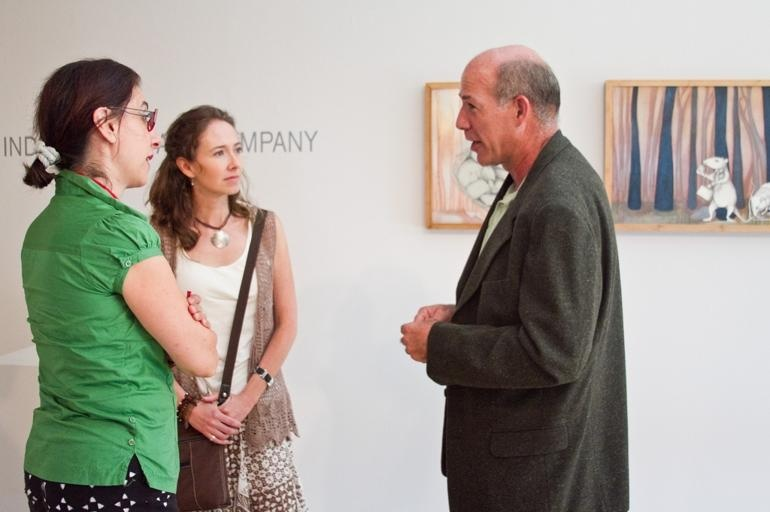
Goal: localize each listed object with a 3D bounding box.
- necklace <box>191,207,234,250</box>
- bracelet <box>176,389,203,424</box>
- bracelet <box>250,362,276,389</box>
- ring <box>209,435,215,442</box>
[{"bbox_3d":[-0.833,-0.128,3.603,0.155,0.186,0.050,-18,-17,-20],"label":"necklace"},{"bbox_3d":[-0.909,0.697,3.465,0.058,0.109,0.121,20,42,6],"label":"bracelet"},{"bbox_3d":[-0.579,0.569,3.588,0.109,0.110,0.071,29,48,13],"label":"bracelet"},{"bbox_3d":[-0.786,0.830,3.418,0.026,0.026,0.006,-6,-15,-2],"label":"ring"}]
